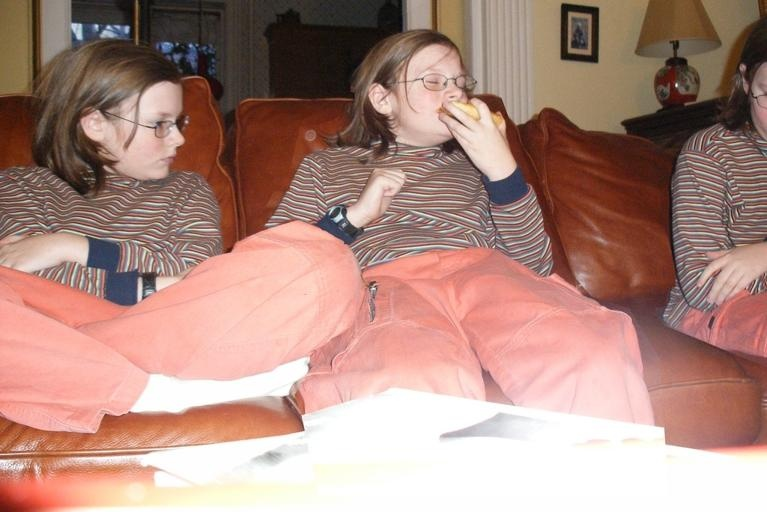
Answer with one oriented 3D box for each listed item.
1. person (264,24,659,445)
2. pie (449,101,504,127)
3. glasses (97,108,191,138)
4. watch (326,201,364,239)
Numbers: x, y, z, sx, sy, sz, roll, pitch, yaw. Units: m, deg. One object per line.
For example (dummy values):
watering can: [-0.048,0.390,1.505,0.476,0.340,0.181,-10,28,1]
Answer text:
person: [0.025,-0.156,1.500,0.711,0.640,1.165,-2,21,-13]
pie: [0.264,-0.385,1.684,0.135,0.032,0.080,18,36,-44]
glasses: [-0.656,-0.364,1.629,0.119,0.030,0.108,16,13,19]
watch: [-0.106,-0.083,1.459,0.092,0.069,0.043,30,-31,-9]
